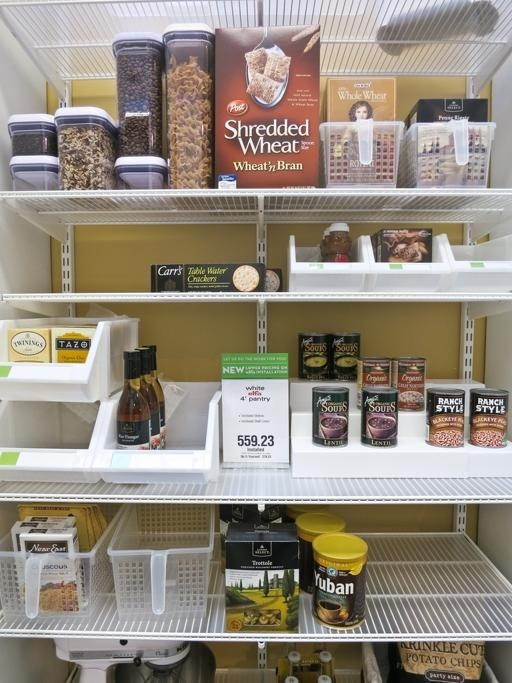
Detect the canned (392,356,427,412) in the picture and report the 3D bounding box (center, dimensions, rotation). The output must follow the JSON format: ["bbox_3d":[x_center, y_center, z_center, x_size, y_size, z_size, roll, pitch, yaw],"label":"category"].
[{"bbox_3d":[0.442,0.119,1.639,0.108,0.146,0.078,1,9,-5],"label":"canned"}]

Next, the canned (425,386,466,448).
[{"bbox_3d":[0.501,0.202,1.526,0.103,0.151,0.050,5,9,18],"label":"canned"}]

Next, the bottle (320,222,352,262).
[{"bbox_3d":[0.220,-0.283,1.649,0.090,0.114,0.119,0,0,-2],"label":"bottle"}]

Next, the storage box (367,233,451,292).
[{"bbox_3d":[0.447,-0.234,1.651,0.257,0.162,0.251,5,23,34],"label":"storage box"}]

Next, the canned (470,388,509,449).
[{"bbox_3d":[0.616,0.203,1.524,0.102,0.150,0.052,5,9,18],"label":"canned"}]

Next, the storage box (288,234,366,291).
[{"bbox_3d":[0.199,-0.212,1.643,0.231,0.149,0.225,0,6,7],"label":"storage box"}]

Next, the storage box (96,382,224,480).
[{"bbox_3d":[-0.258,0.252,1.623,0.311,0.208,0.378,1,10,-3],"label":"storage box"}]

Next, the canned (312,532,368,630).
[{"bbox_3d":[0.225,0.624,1.510,0.158,0.207,0.142,1,9,-3],"label":"canned"}]

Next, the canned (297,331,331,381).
[{"bbox_3d":[0.169,0.048,1.699,0.125,0.142,0.125,0,2,-1],"label":"canned"}]
